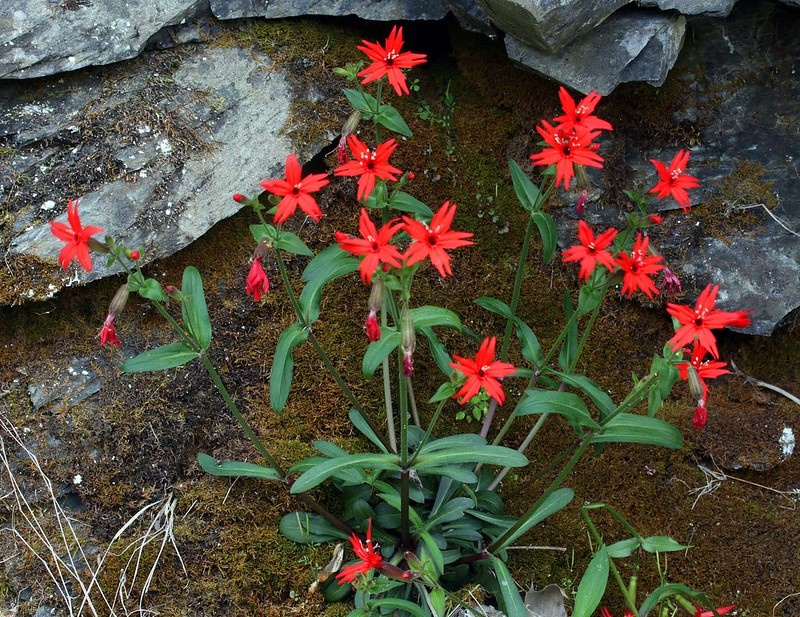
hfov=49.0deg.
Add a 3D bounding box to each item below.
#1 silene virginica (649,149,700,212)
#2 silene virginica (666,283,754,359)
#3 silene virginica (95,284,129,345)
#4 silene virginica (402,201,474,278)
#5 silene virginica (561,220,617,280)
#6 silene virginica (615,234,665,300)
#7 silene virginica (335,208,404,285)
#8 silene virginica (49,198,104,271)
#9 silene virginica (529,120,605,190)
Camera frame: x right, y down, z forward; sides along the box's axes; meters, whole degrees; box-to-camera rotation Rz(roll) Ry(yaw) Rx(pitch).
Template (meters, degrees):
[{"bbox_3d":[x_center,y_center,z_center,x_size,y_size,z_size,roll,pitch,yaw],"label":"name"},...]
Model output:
[{"bbox_3d":[1.418,-0.660,4.589,0.102,0.295,0.307,-14,87,-24],"label":"silene virginica"},{"bbox_3d":[1.513,0.067,4.344,0.376,0.209,0.297,-29,60,-15],"label":"silene virginica"},{"bbox_3d":[-1.682,0.049,5.113,0.129,0.348,0.141,2,37,-36],"label":"silene virginica"},{"bbox_3d":[0.186,-0.318,4.378,0.354,0.177,0.398,-14,77,-12],"label":"silene virginica"},{"bbox_3d":[0.981,-0.370,4.506,0.309,0.113,0.314,11,37,0],"label":"silene virginica"},{"bbox_3d":[1.175,-0.220,4.435,0.206,0.093,0.245,19,23,-5],"label":"silene virginica"},{"bbox_3d":[-0.137,-0.285,4.280,0.256,0.325,0.168,-19,87,7],"label":"silene virginica"},{"bbox_3d":[-1.623,-0.340,4.388,0.107,0.363,0.291,15,82,34],"label":"silene virginica"},{"bbox_3d":[0.842,-0.781,4.618,0.365,0.433,0.318,3,13,0],"label":"silene virginica"}]
